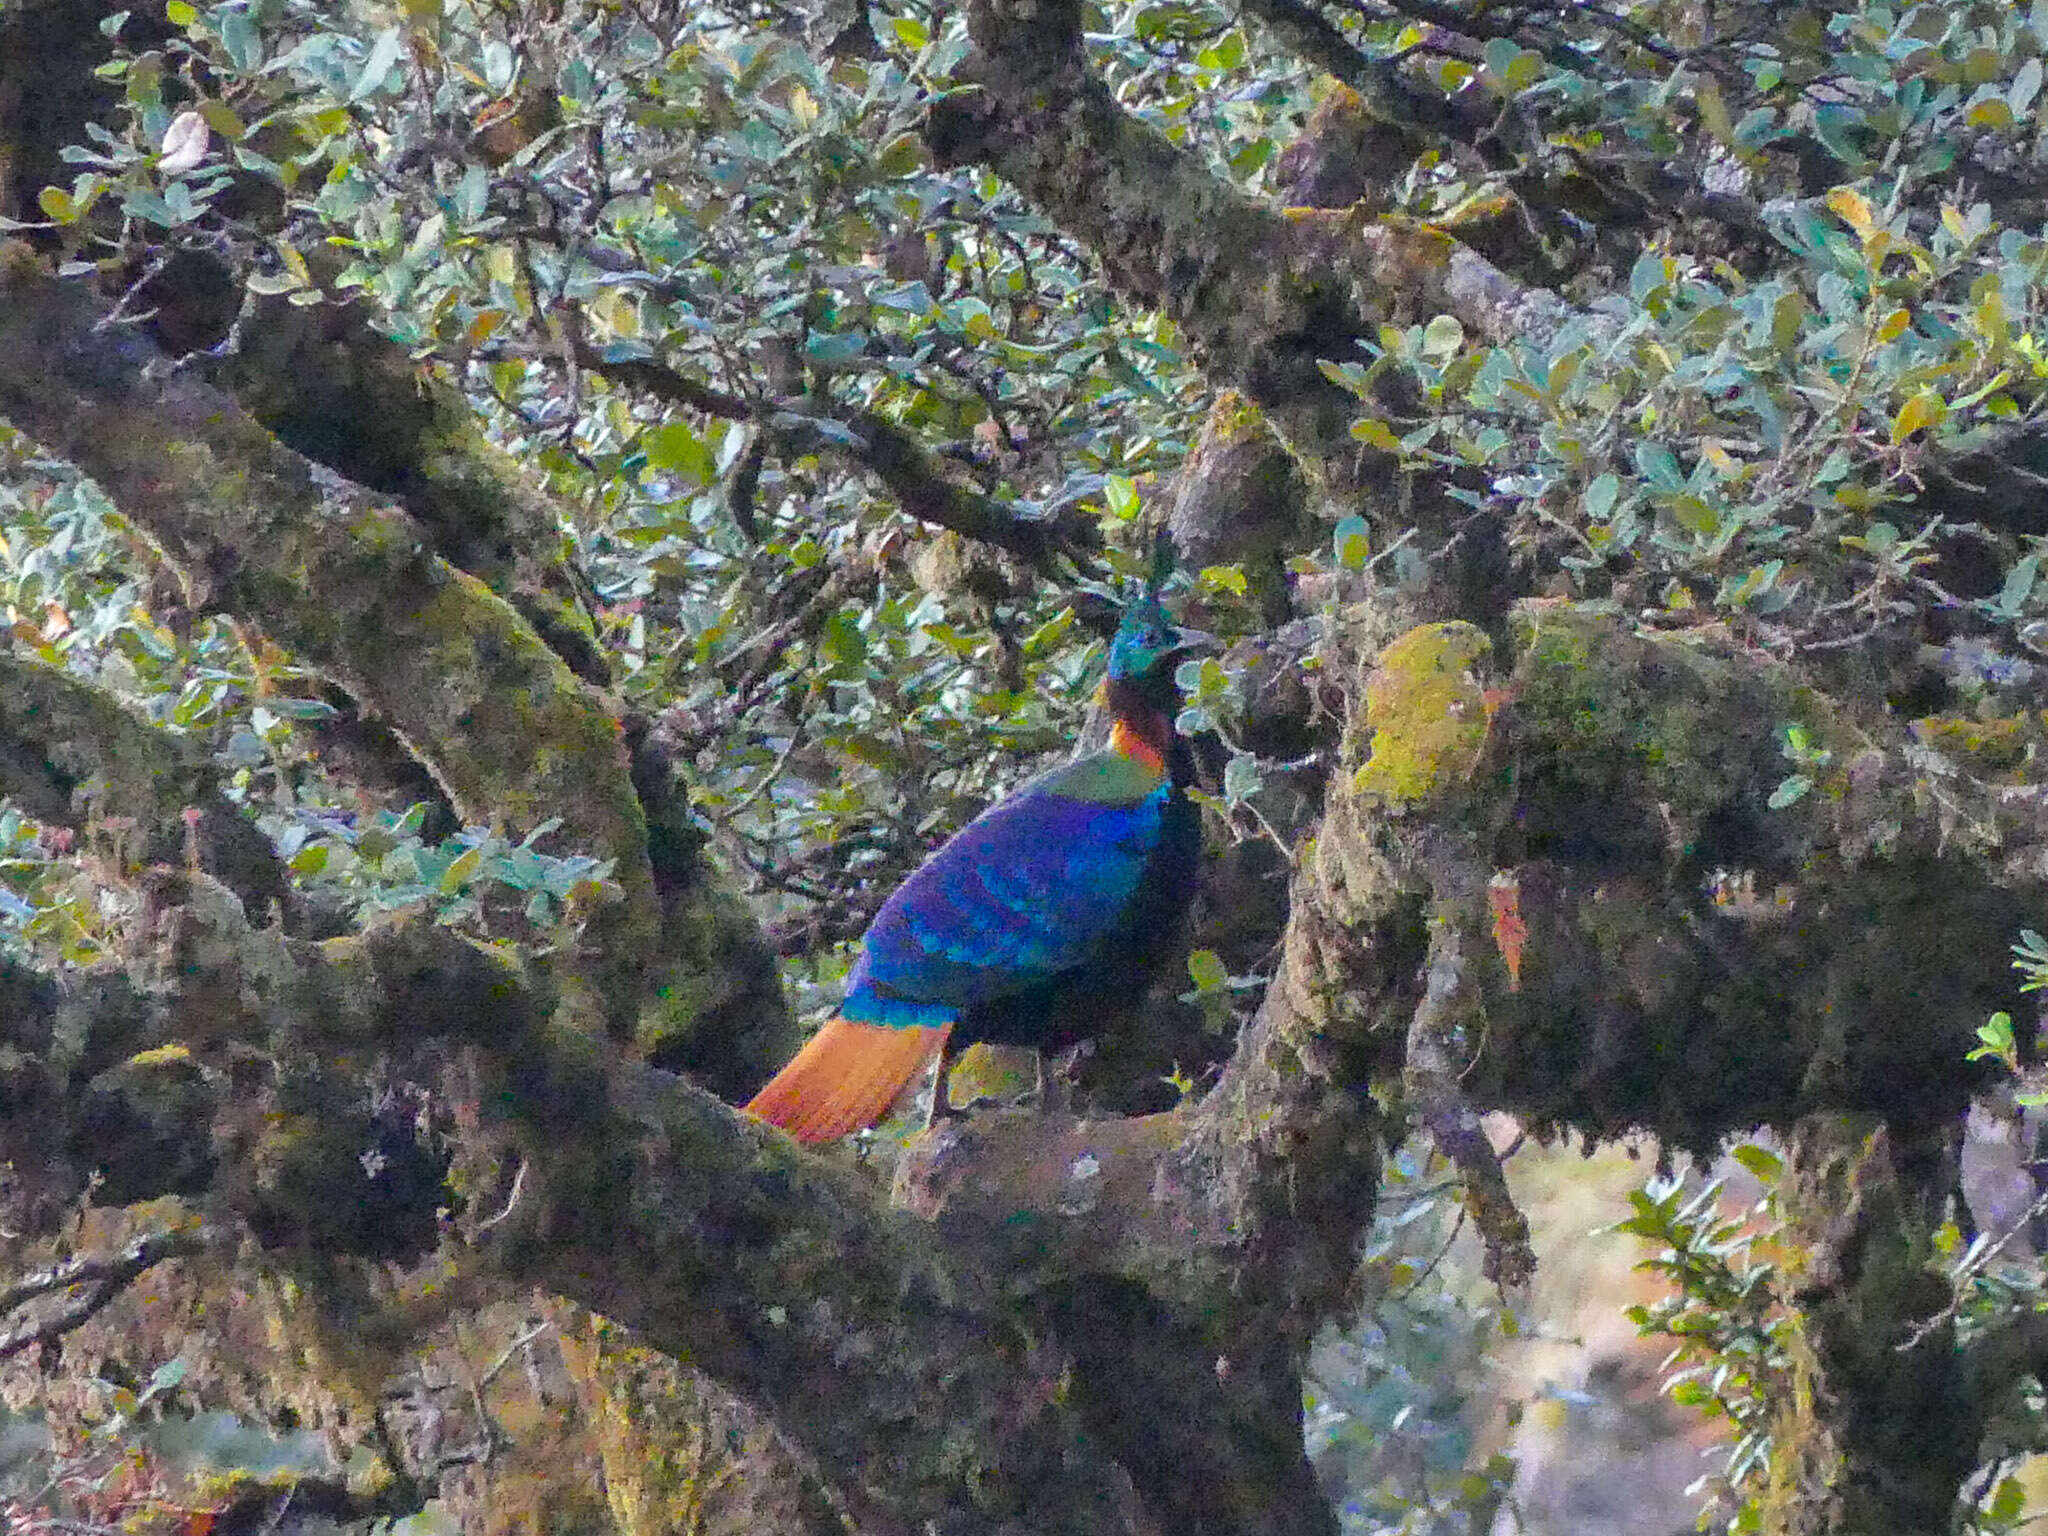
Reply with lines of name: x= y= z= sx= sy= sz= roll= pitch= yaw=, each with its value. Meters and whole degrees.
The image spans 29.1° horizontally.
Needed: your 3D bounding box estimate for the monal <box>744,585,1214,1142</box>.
monal: x=-0.070 y=0.217 z=7.506 sx=0.377 sy=1.066 sz=0.921 roll=27 pitch=-47 yaw=44
